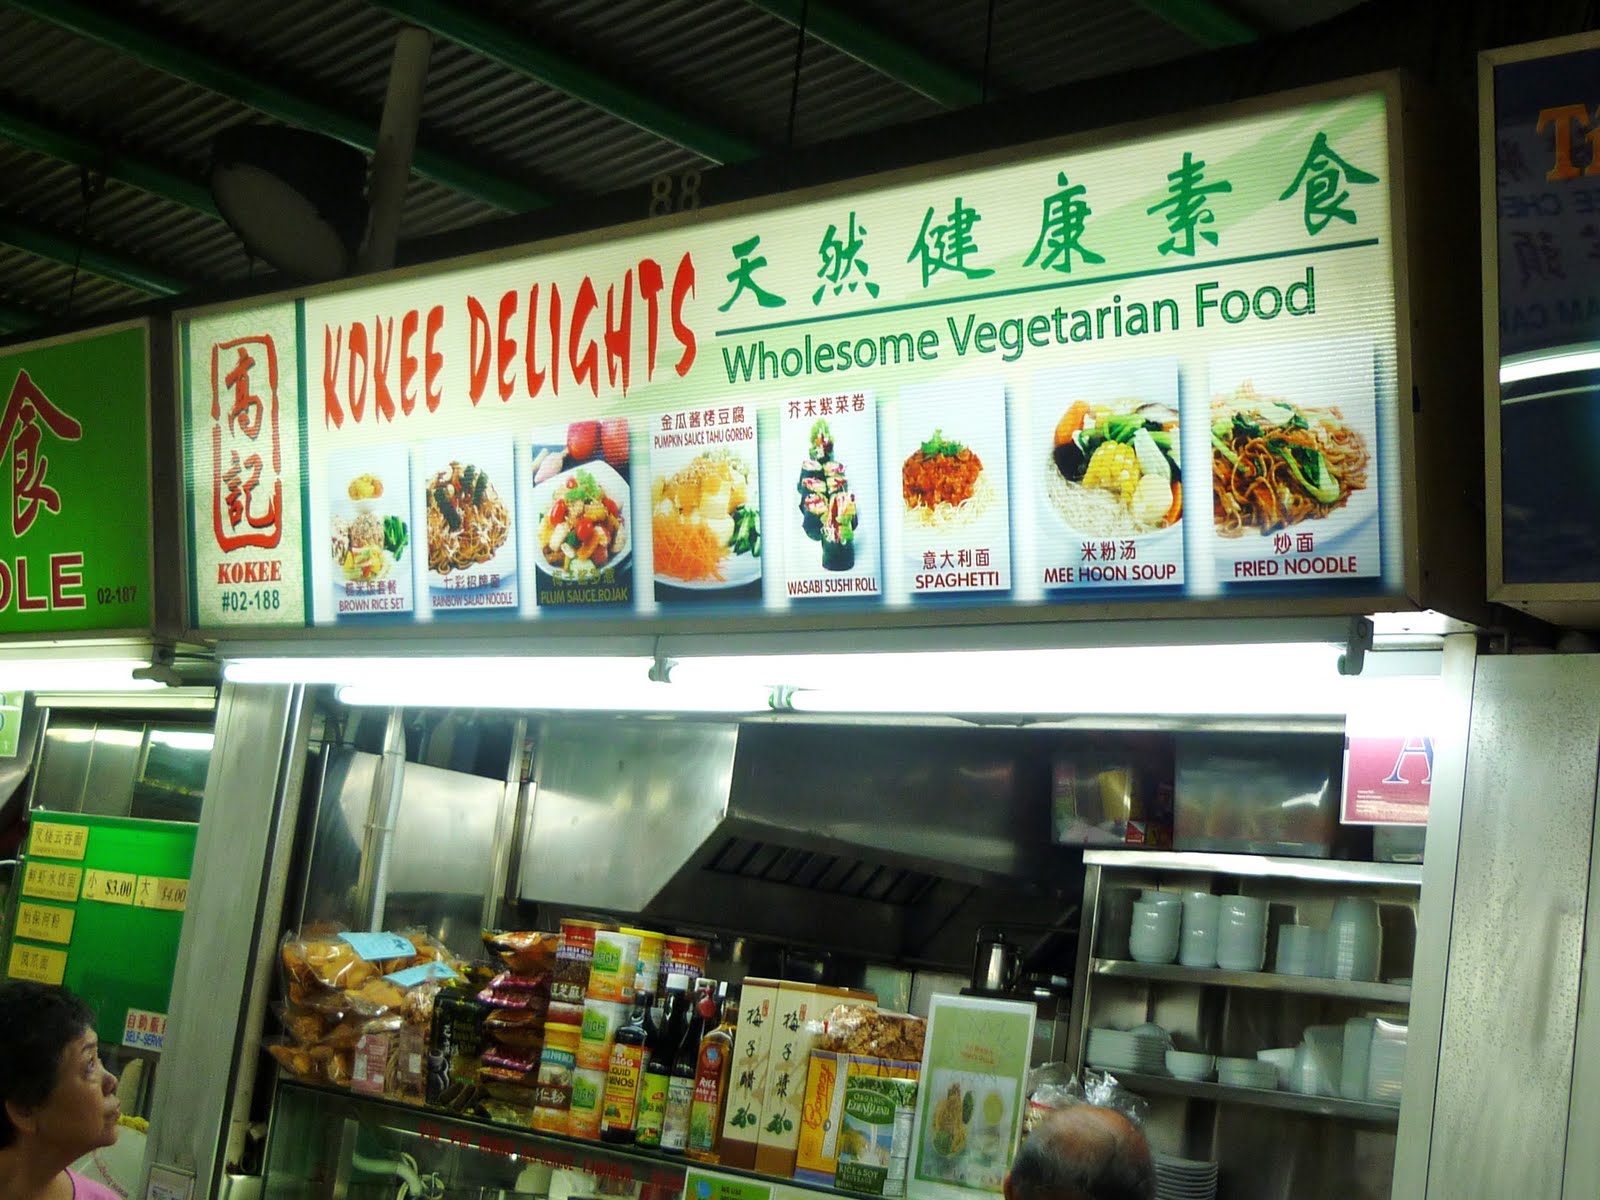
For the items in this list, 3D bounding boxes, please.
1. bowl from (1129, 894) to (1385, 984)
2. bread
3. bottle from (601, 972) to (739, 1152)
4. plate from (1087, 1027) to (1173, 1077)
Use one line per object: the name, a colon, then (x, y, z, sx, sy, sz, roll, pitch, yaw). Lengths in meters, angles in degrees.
bowl: (1.329, 0.976, 4.082, 0.697, 0.234, 0.304, -2, -9, 26)
bread: (-1.110, 1.024, 3.417, 0.341, 0.363, 0.151, -1, -29, 0)
bottle: (-0.299, 1.037, 3.134, 0.297, 0.370, 0.179, 1, -9, 6)
plate: (0.952, 1.324, 4.057, 0.125, 0.075, 0.160, 0, -5, 23)
